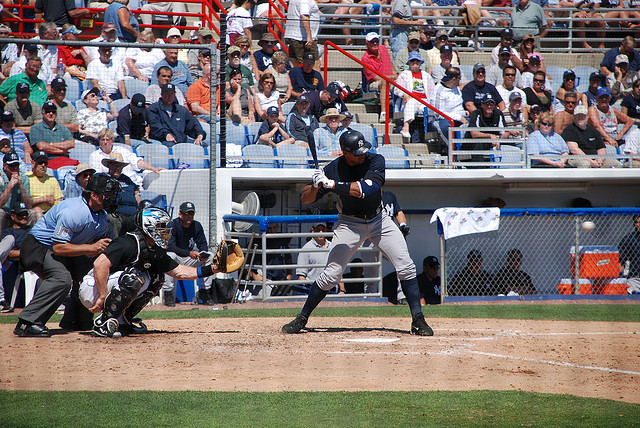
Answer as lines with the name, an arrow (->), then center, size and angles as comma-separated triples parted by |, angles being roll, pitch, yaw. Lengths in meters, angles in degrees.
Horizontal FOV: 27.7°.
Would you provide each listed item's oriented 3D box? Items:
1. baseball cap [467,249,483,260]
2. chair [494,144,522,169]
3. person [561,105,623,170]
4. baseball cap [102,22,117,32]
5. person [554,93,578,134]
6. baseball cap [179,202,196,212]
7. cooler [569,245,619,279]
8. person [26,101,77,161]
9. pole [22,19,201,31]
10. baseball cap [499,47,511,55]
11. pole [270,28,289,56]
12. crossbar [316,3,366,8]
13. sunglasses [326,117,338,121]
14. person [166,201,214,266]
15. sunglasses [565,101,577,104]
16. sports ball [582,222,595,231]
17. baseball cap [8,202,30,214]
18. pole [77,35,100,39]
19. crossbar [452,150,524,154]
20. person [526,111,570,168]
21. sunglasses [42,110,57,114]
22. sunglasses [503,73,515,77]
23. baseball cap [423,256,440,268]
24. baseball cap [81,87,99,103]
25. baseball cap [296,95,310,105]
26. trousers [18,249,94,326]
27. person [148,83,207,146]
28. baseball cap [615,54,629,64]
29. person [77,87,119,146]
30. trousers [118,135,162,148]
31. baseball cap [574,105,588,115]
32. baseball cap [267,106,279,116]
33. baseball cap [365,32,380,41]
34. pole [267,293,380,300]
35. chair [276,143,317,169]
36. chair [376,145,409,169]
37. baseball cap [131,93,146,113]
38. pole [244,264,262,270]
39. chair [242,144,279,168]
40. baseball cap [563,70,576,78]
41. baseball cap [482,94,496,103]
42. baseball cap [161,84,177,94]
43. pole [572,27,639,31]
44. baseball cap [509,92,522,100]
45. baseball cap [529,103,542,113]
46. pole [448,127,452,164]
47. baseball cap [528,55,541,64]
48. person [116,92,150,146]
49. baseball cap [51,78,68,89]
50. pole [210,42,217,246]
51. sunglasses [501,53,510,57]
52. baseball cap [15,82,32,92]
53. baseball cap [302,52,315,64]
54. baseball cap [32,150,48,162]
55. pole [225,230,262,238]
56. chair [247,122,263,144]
baseball cap -> 3.299, 0.874, 27.638 | 0.304, 0.206, 0.489 | 0, 0, 6
chair -> 4.044, -1.224, 27.857 | 0.590, 0.536, 0.739 | 0, 0, 7
person -> 5.934, -1.553, 29.060 | 1.205, 1.551, 1.525 | -5, 4, -27
baseball cap -> -4.560, -4.009, 28.108 | 0.270, 0.197, 0.227 | 0, 0, -8
person -> 5.620, -2.152, 28.925 | 0.715, 1.038, 0.594 | 1, 3, 3
baseball cap -> -2.616, -0.132, 25.714 | 0.289, 0.186, 0.300 | 0, 0, -7
cooler -> 5.879, 1.024, 27.338 | 0.969, 0.672, 0.547 | 0, 1, -12
person -> -5.343, -1.636, 25.908 | 0.966, 1.120, 0.285 | 0, 1, -8
pole -> -4.018, -4.414, 30.740 | 2.596, 0.325, 0.104 | -2, 20, -27
baseball cap -> 4.232, -3.727, 29.746 | 0.238, 0.153, 0.365 | 1, 5, 8
pole -> -0.914, -3.901, 29.484 | 0.394, 0.633, 0.463 | 0, 1, -8
crossbar -> 0.519, -4.951, 30.926 | 1.182, 0.098, 0.390 | 0, 0, -10
sunglasses -> 0.285, -1.995, 27.458 | 0.206, 0.081, 0.067 | 0, 1, -10
person -> -2.633, 0.438, 25.640 | 1.173, 1.295, 1.011 | 1, 4, -37
sunglasses -> 5.602, -2.453, 28.833 | 0.265, 0.061, 0.104 | 0, 0, -32
sports ball -> 5.638, 0.271, 27.261 | 0.197, 0.151, 0.185 | 1, -1, 0
baseball cap -> -5.709, -0.108, 24.646 | 0.382, 0.216, 0.322 | 0, 0, -5
pole -> -5.242, -3.983, 29.412 | 0.399, 0.029, 0.029 | 4, -37, -13
crossbar -> 3.624, -1.310, 27.762 | 1.560, 0.095, 0.601 | 0, 0, -7
person -> 4.969, -1.584, 28.316 | 1.054, 1.184, 0.664 | 0, 1, -7
sunglasses -> -5.358, -2.009, 25.837 | 0.261, 0.074, 0.096 | 0, 0, -28
sunglasses -> 4.298, -3.111, 29.300 | 0.248, 0.083, 0.122 | 0, 0, -13
baseball cap -> 2.361, 1.021, 27.389 | 0.289, 0.146, 0.209 | -4, -1, 31
baseball cap -> -4.817, -2.507, 27.242 | 0.271, 0.108, 0.404 | -16, -11, -41
baseball cap -> -0.335, -2.418, 27.601 | 0.302, 0.200, 0.181 | 0, 1, -17
trousers -> -4.621, 1.260, 22.538 | 0.970, 1.377, 1.191 | 6, -3, 4
person -> -2.980, -2.011, 26.873 | 1.183, 1.335, 1.030 | -3, 6, -17
baseball cap -> 7.168, -3.659, 30.844 | 0.304, 0.254, 0.346 | 1, 0, 11
person -> -4.579, -1.960, 26.649 | 0.953, 1.174, 1.118 | -9, 13, -33
trousers -> -3.676, -1.469, 26.632 | 0.867, 0.262, 0.353 | 0, 0, -13
baseball cap -> 5.740, -2.267, 28.574 | 0.271, 0.202, 0.250 | 0, 0, 10
baseball cap -> -0.975, -2.146, 27.288 | 0.158, 0.183, 0.194 | 0, 8, -6
baseball cap -> 1.205, -4.018, 29.527 | 0.284, 0.229, 0.445 | 0, 0, 1
pole -> 0.114, 1.664, 26.231 | 2.214, 0.085, 0.604 | 0, 0, -28
chair -> -0.498, -1.237, 27.399 | 0.671, 0.763, 0.638 | 1, 8, 22
chair -> 1.484, -1.262, 27.810 | 0.610, 0.737, 0.630 | 0, -6, -10
baseball cap -> -3.673, -2.250, 26.506 | 0.276, 0.362, 0.220 | -3, -25, -24
pole -> -1.310, 1.033, 26.160 | 0.504, 0.073, 0.122 | -1, -33, 6
chair -> -1.254, -1.200, 27.301 | 0.562, 0.678, 0.531 | 0, -8, -5
baseball cap -> 5.750, -3.212, 29.980 | 0.256, 0.184, 0.356 | 0, 0, 9
baseball cap -> 3.657, -2.496, 28.067 | 0.218, 0.268, 0.283 | 3, 15, 7
baseball cap -> -3.123, -2.558, 26.786 | 0.268, 0.207, 0.250 | 0, 0, -9
pole -> 7.182, -4.441, 32.854 | 0.934, 0.156, 0.209 | 3, -39, 5
baseball cap -> 4.288, -2.564, 28.416 | 0.245, 0.167, 0.279 | 0, 0, 7
baseball cap -> 4.834, -2.346, 29.069 | 0.277, 0.209, 0.453 | 0, 0, 8
pole -> 2.786, -1.446, 27.729 | 0.086, 0.775, 0.291 | 1, 1, 5
baseball cap -> 4.975, -3.571, 30.141 | 0.272, 0.229, 0.327 | 0, 0, 8
person -> -3.746, -1.859, 26.680 | 0.778, 1.144, 0.994 | -7, 23, -22
baseball cap -> -5.326, -2.652, 26.525 | 0.291, 0.235, 0.380 | 0, 0, -12
pole -> -2.123, -1.374, 25.841 | 0.139, 4.026, 0.433 | 0, 1, -7
sunglasses -> 4.249, -3.614, 29.712 | 0.191, 0.084, 0.060 | 0, 1, -14
baseball cap -> -5.992, -2.542, 26.218 | 0.248, 0.210, 0.253 | 0, 0, -12
baseball cap -> -0.232, -3.404, 28.553 | 0.249, 0.255, 0.318 | 0, 0, -3
baseball cap -> -5.437, -1.120, 25.284 | 0.287, 0.207, 0.330 | 0, 0, -12
pole -> -1.498, 0.432, 26.403 | 0.513, 0.112, 1.073 | 0, 0, -30
chair -> -1.407, -1.716, 27.679 | 0.411, 0.544, 0.406 | 0, 3, -12
